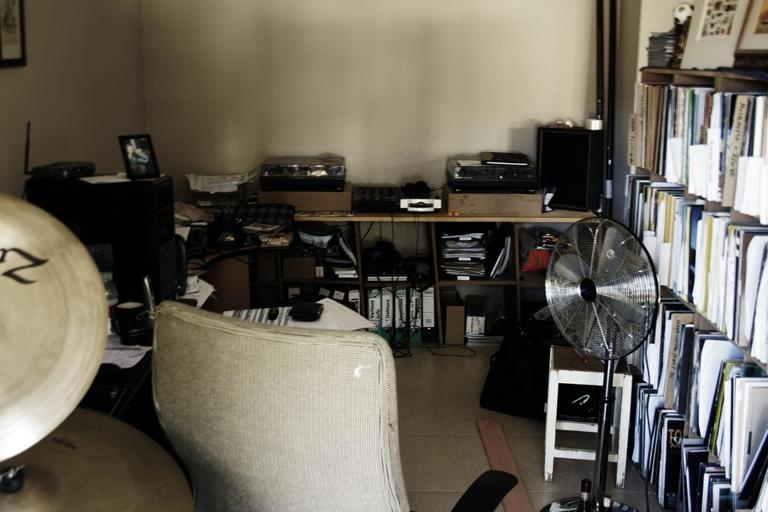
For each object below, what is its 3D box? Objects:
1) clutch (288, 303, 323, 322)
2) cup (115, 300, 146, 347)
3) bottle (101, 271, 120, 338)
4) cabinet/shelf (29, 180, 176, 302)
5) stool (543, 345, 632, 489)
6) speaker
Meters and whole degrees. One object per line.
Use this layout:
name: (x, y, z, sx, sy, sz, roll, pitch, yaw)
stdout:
clutch: (-0.341, 0.248, 2.888, 0.096, 0.028, 0.091, 2, 20, 2)
cup: (-1.029, 0.285, 2.600, 0.092, 0.135, 0.140, -6, -12, -4)
bottle: (-1.110, 0.192, 2.704, 0.051, 0.227, 0.249, -8, 17, -22)
cabinet/shelf: (-1.198, -0.059, 2.854, 0.524, 0.556, 0.291, -1, 15, 1)
stool: (0.993, 0.734, 3.216, 0.325, 0.373, 0.316, -3, -5, 26)
speaker: (1.272, -0.594, 4.501, 0.437, 0.547, 0.243, 4, 16, 17)
